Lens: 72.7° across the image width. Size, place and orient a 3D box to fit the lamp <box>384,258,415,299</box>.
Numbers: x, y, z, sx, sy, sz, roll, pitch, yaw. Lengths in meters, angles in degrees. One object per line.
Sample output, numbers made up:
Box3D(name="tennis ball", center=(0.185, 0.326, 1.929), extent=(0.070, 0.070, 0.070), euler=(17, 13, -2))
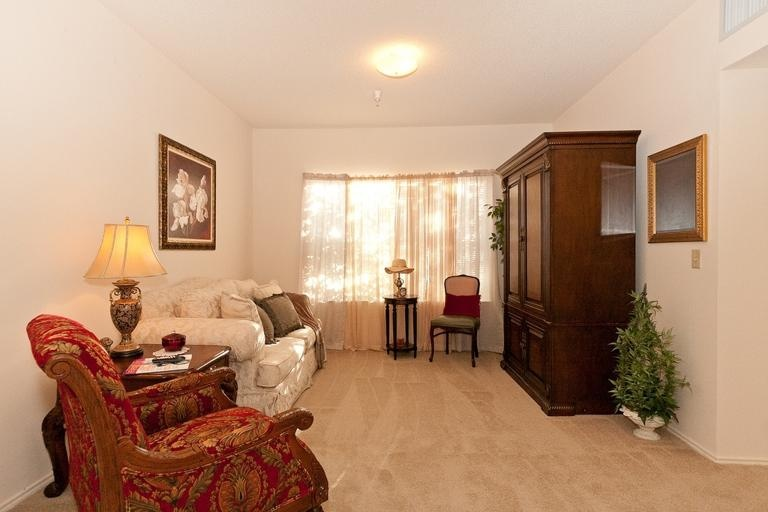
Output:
Box3D(name="lamp", center=(0.147, 0.295, 6.814), extent=(0.471, 0.534, 0.446), euler=(1, -3, -17))

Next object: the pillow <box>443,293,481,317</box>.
Box3D(name="pillow", center=(0.978, 0.650, 6.534), extent=(0.430, 0.271, 0.128), euler=(-2, -16, 16))

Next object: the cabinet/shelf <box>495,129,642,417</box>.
Box3D(name="cabinet/shelf", center=(1.870, 0.133, 5.220), extent=(0.984, 2.690, 1.364), euler=(-1, 14, -2))

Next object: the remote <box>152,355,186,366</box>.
Box3D(name="remote", center=(-1.600, 0.793, 3.903), extent=(0.160, 0.041, 0.095), euler=(4, -5, -7))

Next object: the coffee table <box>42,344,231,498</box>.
Box3D(name="coffee table", center=(-1.782, 1.157, 4.085), extent=(1.168, 0.923, 1.181), euler=(4, 4, 26))

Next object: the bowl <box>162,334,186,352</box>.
Box3D(name="bowl", center=(-1.648, 0.684, 4.108), extent=(0.158, 0.115, 0.142), euler=(3, 5, 41))

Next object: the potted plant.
Box3D(name="potted plant", center=(2.262, 0.953, 4.580), extent=(0.507, 1.183, 0.656), euler=(-3, 14, -11))
